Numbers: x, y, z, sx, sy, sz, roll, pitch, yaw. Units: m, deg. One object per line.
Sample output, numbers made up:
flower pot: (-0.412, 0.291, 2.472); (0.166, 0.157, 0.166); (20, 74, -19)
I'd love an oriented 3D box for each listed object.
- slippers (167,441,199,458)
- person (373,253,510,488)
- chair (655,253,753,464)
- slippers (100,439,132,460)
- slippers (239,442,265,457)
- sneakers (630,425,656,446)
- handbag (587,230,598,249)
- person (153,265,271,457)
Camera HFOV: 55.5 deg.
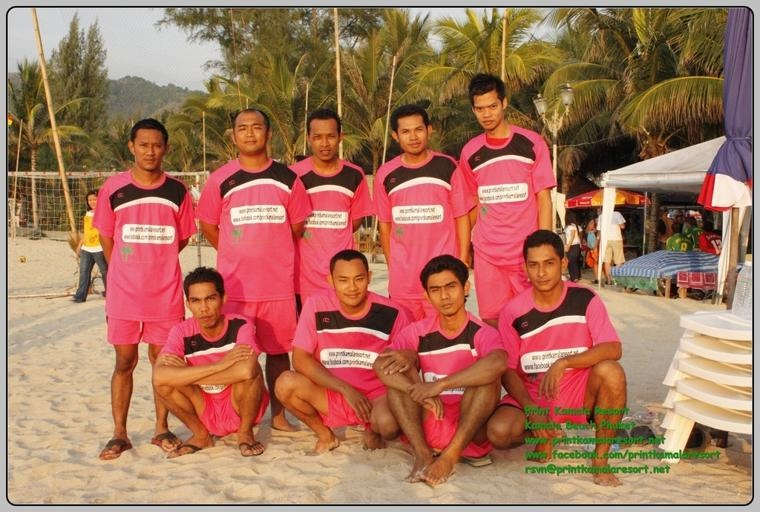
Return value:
slippers: (-2.032, 2.018, 7.461); (0.272, 0.112, 0.124); (6, 6, -28)
person: (0.644, 1.069, 7.183); (1.136, 2.065, 0.921); (-8, 16, -29)
chair: (3.300, 1.081, 7.244); (0.797, 1.681, 1.040); (5, 15, 22)
slippers: (-2.721, 1.994, 7.448); (0.181, 0.146, 0.320); (8, 16, 31)
slippers: (-1.317, 1.994, 7.431); (0.238, 0.108, 0.154); (-5, 14, -18)
sneakers: (2.728, 1.858, 7.488); (0.255, 0.141, 0.335); (4, 14, 20)
handbag: (5.376, -0.369, 18.113); (0.321, 0.634, 0.591); (0, 1, 12)
person: (-1.767, 1.094, 7.421); (1.082, 1.872, 0.683); (-3, 14, -9)
